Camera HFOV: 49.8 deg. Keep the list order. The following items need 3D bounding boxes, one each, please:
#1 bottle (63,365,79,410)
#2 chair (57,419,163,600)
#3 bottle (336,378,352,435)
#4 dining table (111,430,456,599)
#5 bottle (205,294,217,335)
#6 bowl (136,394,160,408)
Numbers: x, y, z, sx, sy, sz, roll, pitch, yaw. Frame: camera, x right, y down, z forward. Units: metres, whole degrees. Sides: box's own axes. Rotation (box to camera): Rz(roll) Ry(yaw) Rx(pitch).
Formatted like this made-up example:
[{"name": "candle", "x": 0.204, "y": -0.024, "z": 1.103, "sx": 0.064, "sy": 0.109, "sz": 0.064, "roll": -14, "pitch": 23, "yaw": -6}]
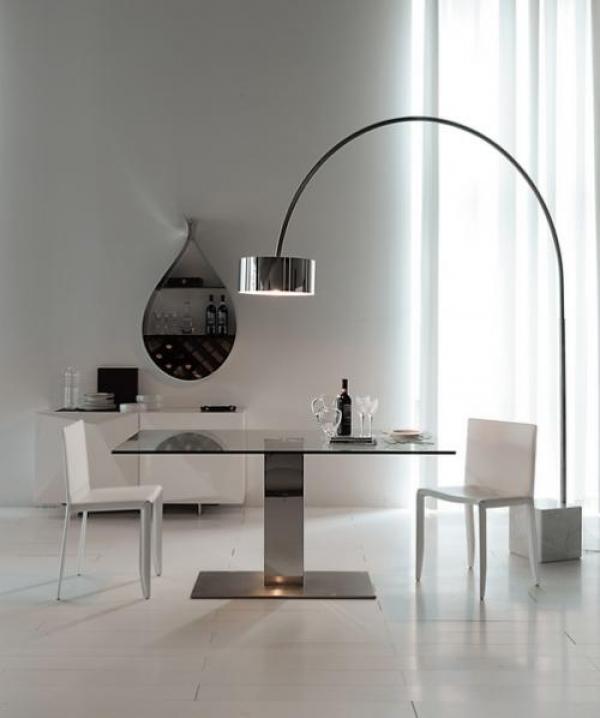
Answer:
[{"name": "bottle", "x": -1.610, "y": 0.201, "z": 4.553, "sx": 0.105, "sy": 0.292, "sz": 0.198, "roll": 2, "pitch": -3, "yaw": -19}, {"name": "chair", "x": -0.854, "y": 0.673, "z": 2.896, "sx": 0.404, "sy": 0.696, "sz": 0.382, "roll": 0, "pitch": -1, "yaw": -10}, {"name": "bottle", "x": 0.199, "y": 0.222, "z": 2.976, "sx": 0.063, "sy": 0.255, "sz": 0.140, "roll": 0, "pitch": -3, "yaw": 4}, {"name": "dining table", "x": -0.119, "y": 0.687, "z": 2.890, "sx": 1.298, "sy": 0.703, "sz": 0.739, "roll": 1, "pitch": -3, "yaw": -1}, {"name": "bottle", "x": -0.640, "y": -0.317, "z": 4.613, "sx": 0.084, "sy": 0.293, "sz": 0.037, "roll": 1, "pitch": -3, "yaw": -4}, {"name": "bowl", "x": -1.043, "y": 0.284, "z": 4.444, "sx": 0.104, "sy": 0.066, "sz": 0.104, "roll": 0, "pitch": -2, "yaw": 0}]
